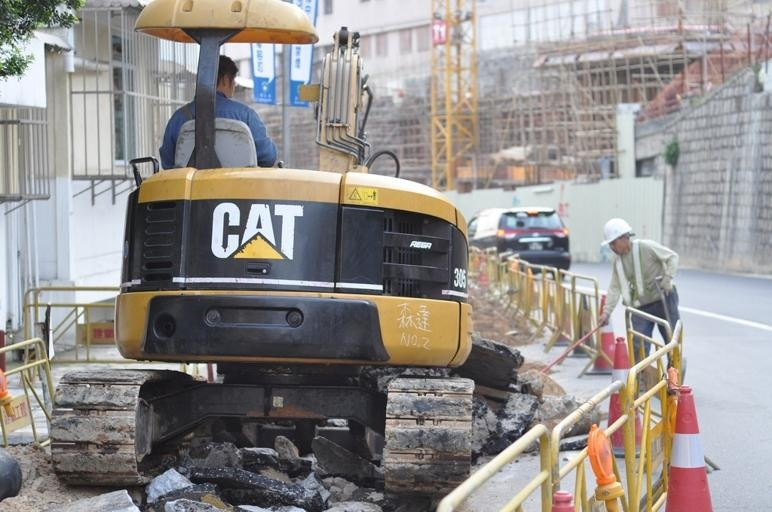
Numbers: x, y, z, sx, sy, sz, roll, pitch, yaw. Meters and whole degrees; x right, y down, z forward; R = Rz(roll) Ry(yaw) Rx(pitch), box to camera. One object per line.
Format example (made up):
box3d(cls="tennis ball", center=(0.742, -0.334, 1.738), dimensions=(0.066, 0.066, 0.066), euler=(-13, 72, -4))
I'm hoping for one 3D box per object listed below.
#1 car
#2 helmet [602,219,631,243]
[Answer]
box3d(cls="car", center=(3.767, -0.565, 39.652), dimensions=(1.516, 1.511, 3.391), euler=(0, 8, -7))
box3d(cls="helmet", center=(4.210, -0.512, 25.266), dimensions=(0.578, 0.398, 0.469), euler=(-15, 7, -17))
